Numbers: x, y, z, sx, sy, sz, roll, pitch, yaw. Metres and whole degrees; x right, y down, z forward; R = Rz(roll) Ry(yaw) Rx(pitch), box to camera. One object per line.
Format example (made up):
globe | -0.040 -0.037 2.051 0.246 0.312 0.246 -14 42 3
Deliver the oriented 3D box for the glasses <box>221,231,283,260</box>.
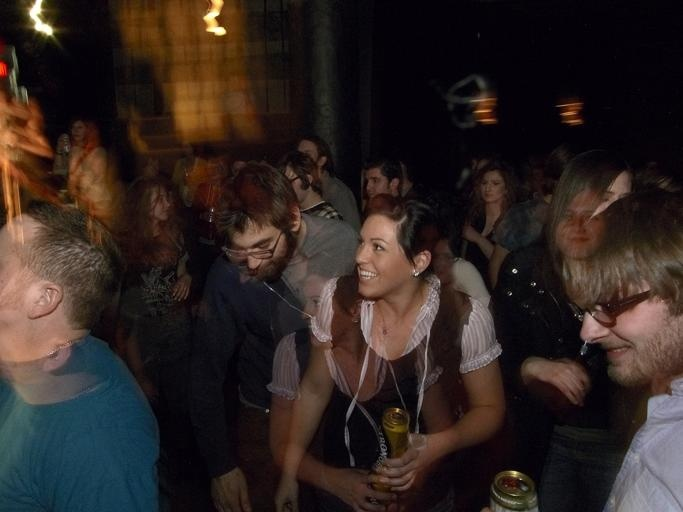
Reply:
glasses | -0.492 -0.049 3.122 0.337 0.133 0.092 -6 17 -3

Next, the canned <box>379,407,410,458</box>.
canned | 0.244 0.822 2.546 0.097 0.262 0.099 -17 38 -15

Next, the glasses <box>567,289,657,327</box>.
glasses | 1.132 0.195 2.272 0.163 0.051 0.158 -27 4 -15
